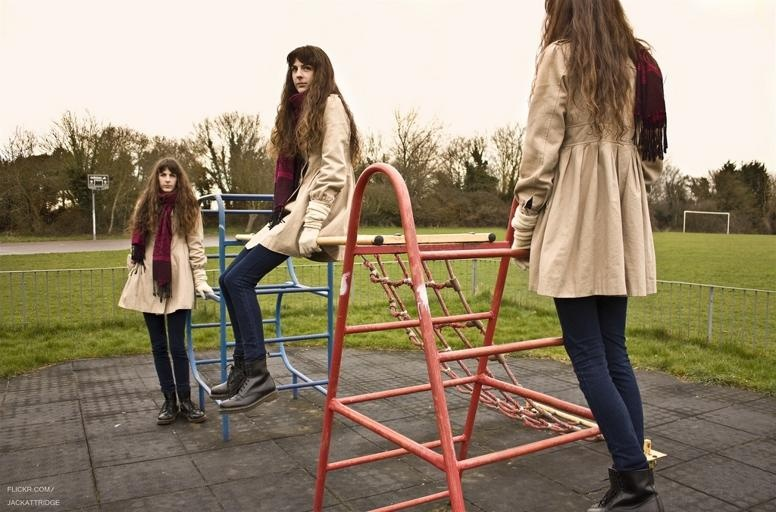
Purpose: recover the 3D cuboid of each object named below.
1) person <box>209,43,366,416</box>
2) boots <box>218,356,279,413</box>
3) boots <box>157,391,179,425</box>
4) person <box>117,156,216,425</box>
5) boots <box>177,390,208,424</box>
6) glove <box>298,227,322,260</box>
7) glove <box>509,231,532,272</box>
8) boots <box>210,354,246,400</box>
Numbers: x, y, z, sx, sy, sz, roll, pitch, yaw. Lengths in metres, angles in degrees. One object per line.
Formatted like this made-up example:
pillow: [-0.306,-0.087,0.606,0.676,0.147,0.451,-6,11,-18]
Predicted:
person: [-0.817,-0.282,4.849,1.151,2.916,0.713,-1,5,-5]
boots: [-1.136,0.999,4.675,0.213,0.370,0.517,1,8,42]
boots: [-2.156,1.470,5.754,0.154,0.266,0.212,0,5,15]
person: [-2.183,0.305,5.871,0.875,2.565,0.609,-1,5,-2]
boots: [-1.943,1.485,5.770,0.160,0.235,0.400,2,-4,-42]
glove: [-0.607,-0.088,4.608,0.172,0.232,0.105,-8,-15,18]
glove: [0.929,-0.024,4.130,0.079,0.223,0.232,-1,4,-42]
boots: [-1.313,1.009,4.872,0.167,0.280,0.482,1,-4,26]
